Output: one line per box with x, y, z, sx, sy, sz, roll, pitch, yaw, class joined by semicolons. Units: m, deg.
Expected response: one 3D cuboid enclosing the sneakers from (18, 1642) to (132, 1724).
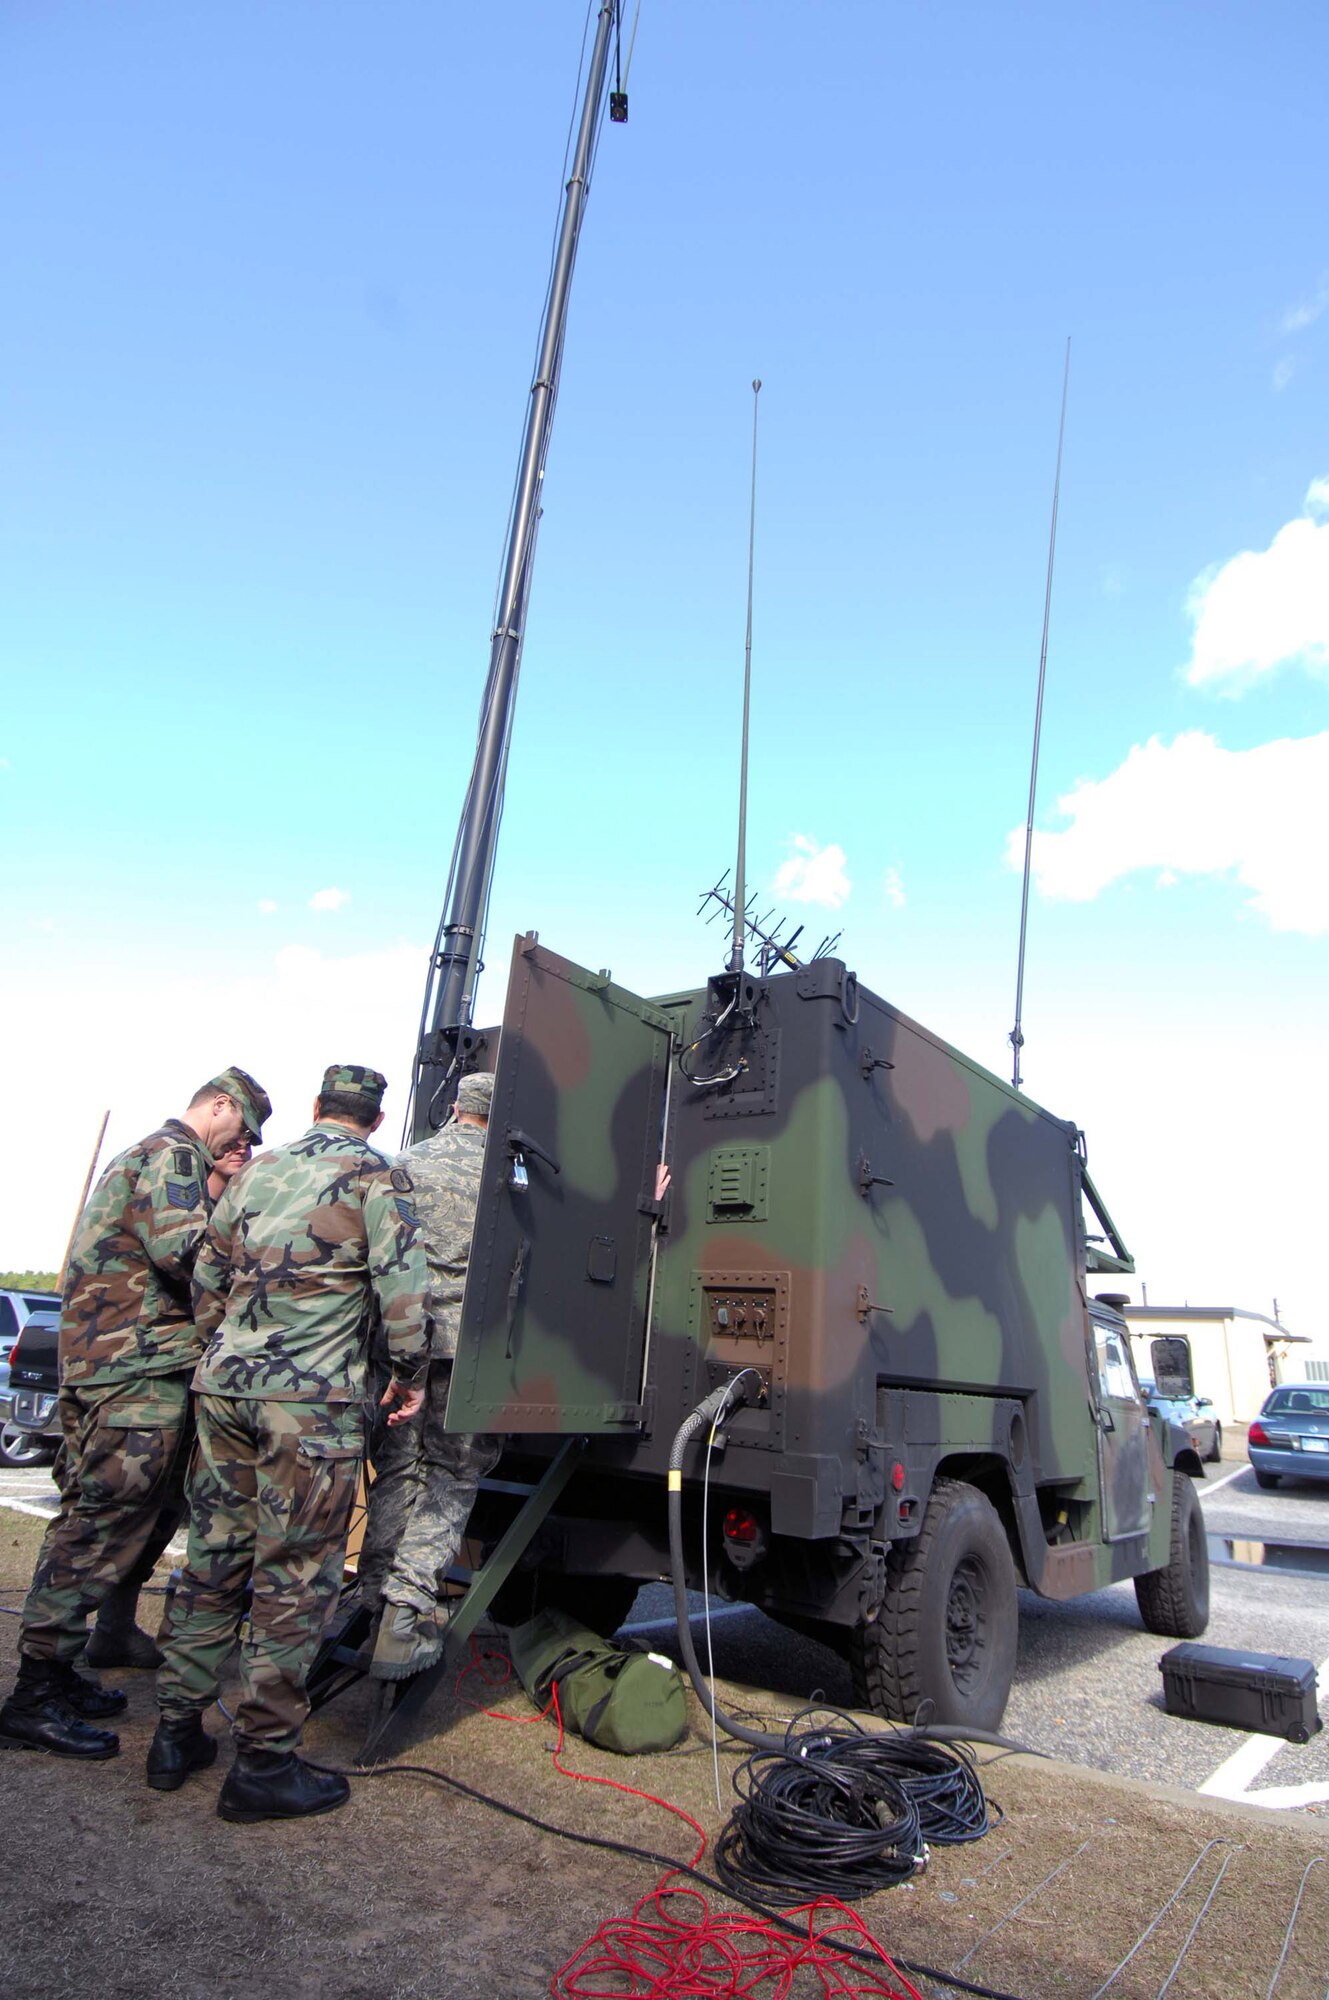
-1.532;1.792;3.675;0.328;0.141;0.117;34;-12;-24;sneakers

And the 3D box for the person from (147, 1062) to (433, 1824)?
-0.923;1.013;3.588;0.563;1.798;0.510;10;-15;-19;person

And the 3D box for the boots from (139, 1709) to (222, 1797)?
-1.149;1.773;3.345;0.085;0.187;0.266;-3;-9;19;boots

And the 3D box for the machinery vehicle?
0.480;1.288;5.544;1.583;2.129;4.106;-10;-19;34;machinery vehicle

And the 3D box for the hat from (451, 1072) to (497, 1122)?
-0.599;0.299;4.564;0.146;0.175;0.193;7;6;-3;hat
